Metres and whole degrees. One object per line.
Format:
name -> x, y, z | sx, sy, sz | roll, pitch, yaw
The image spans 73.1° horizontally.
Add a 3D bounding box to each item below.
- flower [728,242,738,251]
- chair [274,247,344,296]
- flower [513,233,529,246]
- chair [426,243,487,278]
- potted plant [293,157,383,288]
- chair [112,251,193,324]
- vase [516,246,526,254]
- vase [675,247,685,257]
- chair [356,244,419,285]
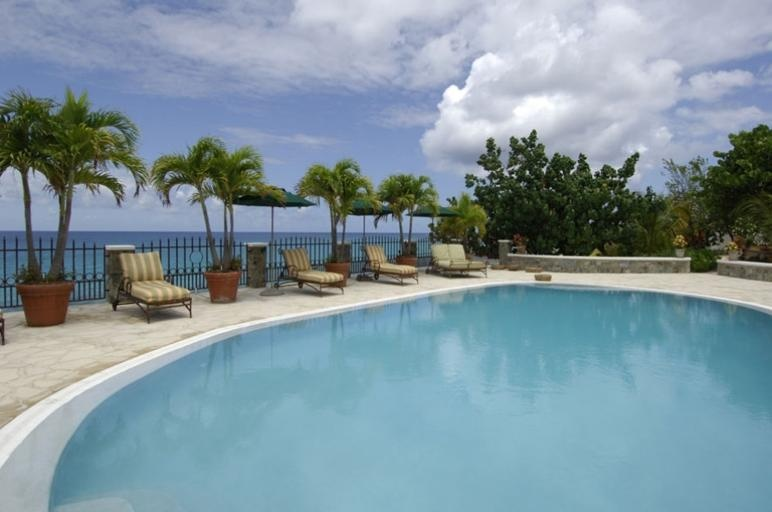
flower -> 17.564, -0.435, 26.269 | 0.494, 0.464, 0.504 | 0, -2, -3
chair -> -2.602, 0.561, 18.480 | 2.067, 1.490, 1.534 | 3, 4, 38
flower -> 7.242, -0.805, 28.127 | 0.927, 0.698, 0.816 | 1, 0, -34
chair -> 3.078, 0.211, 23.448 | 1.491, 1.155, 2.019 | 0, -1, -16
potted plant -> -1.681, -1.766, 20.322 | 2.886, 3.399, 2.910 | 5, -10, 4
chair -> -6.730, 0.828, 14.915 | 2.243, 1.703, 1.427 | 7, 6, 40
vase -> 7.200, -0.278, 27.592 | 0.467, 0.394, 0.462 | -3, -2, 16
vase -> 14.721, -0.135, 26.057 | 0.407, 0.347, 0.430 | 0, -6, -3
chair -> 0.133, 0.304, 21.380 | 2.062, 1.464, 1.234 | 5, 6, 40
